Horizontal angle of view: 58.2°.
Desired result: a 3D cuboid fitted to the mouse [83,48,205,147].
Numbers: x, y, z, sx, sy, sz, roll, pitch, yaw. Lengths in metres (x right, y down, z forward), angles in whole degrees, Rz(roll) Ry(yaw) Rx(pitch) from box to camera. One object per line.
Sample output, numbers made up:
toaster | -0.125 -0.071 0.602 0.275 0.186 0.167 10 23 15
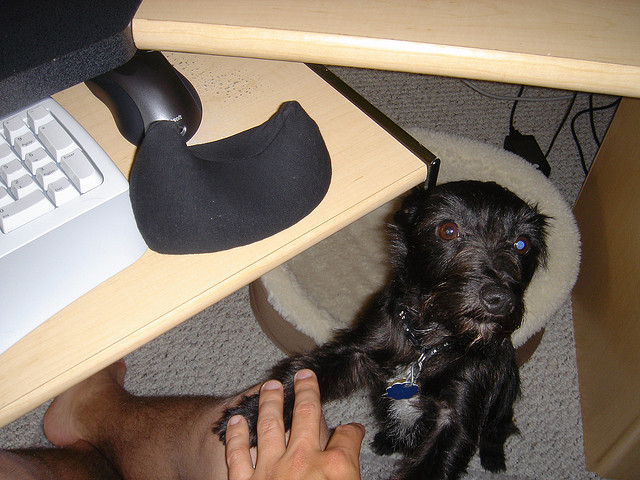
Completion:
mouse | -0.290 -0.250 0.958 0.136 0.058 0.201 -39 99 -27
